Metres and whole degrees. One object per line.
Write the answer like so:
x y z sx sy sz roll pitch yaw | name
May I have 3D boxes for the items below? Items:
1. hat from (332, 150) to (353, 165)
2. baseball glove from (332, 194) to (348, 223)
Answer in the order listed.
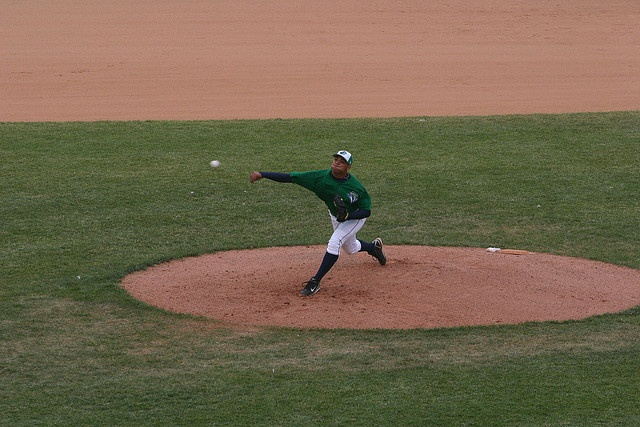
0.617 -1.473 35.959 0.325 0.362 0.482 8 13 34 | hat
0.504 -0.146 35.782 0.299 0.629 0.510 -15 32 -4 | baseball glove
